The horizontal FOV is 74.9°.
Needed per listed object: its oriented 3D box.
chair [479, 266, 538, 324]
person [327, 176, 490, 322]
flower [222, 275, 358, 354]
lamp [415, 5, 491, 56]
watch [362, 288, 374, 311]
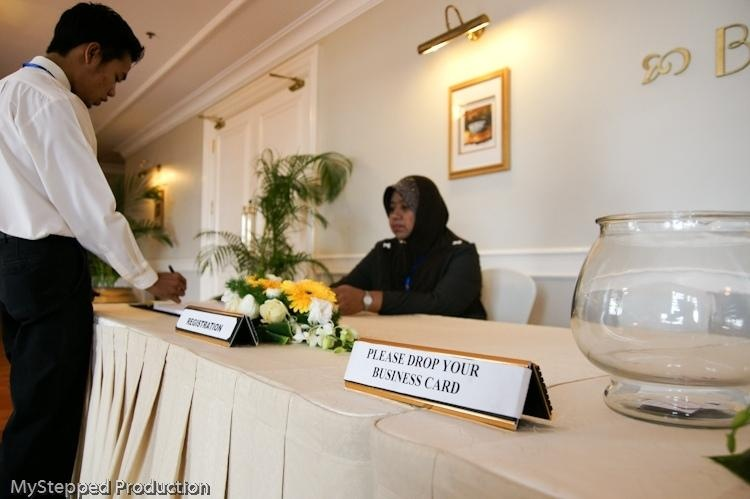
[{"bbox_3d":[0.630,0.227,2.370,0.239,0.430,0.275,-2,-7,30],"label":"chair"},{"bbox_3d":[0.194,-0.027,2.352,0.688,0.673,1.027,1,7,-4],"label":"person"},{"bbox_3d":[-0.206,0.153,1.182,0.208,0.094,0.206,9,5,-38],"label":"flower"},{"bbox_3d":[0.479,-1.292,2.881,0.383,0.219,0.126,-24,-11,34],"label":"lamp"},{"bbox_3d":[-0.028,0.203,1.910,0.047,0.072,0.047,-1,8,-19],"label":"watch"}]
